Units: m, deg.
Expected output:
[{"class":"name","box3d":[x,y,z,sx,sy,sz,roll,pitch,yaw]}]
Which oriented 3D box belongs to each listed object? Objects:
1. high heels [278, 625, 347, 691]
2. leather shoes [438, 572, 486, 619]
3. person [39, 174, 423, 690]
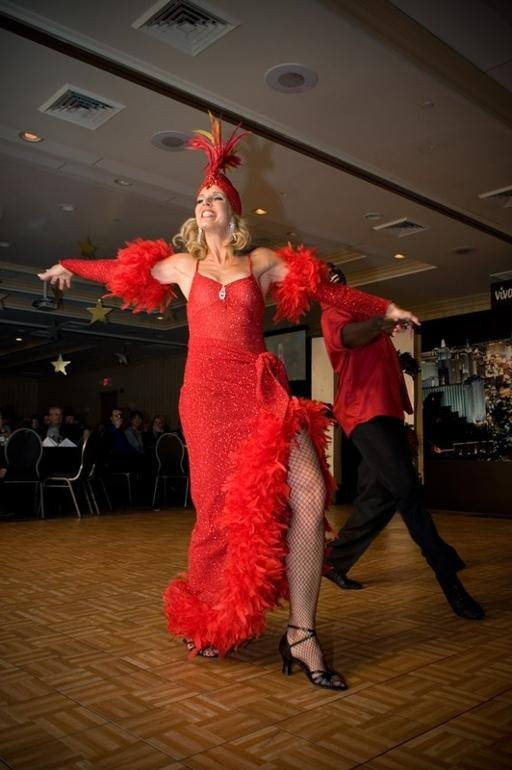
[{"class":"high heels","box3d":[0.143,0.693,1.361,0.222,0.132,0.090,-7,-15,44]},{"class":"leather shoes","box3d":[0.798,0.825,2.121,0.098,0.110,0.271,-23,0,-5]},{"class":"person","box3d":[0.004,0.089,1.598,0.763,1.431,0.390,0,-1,38]}]
